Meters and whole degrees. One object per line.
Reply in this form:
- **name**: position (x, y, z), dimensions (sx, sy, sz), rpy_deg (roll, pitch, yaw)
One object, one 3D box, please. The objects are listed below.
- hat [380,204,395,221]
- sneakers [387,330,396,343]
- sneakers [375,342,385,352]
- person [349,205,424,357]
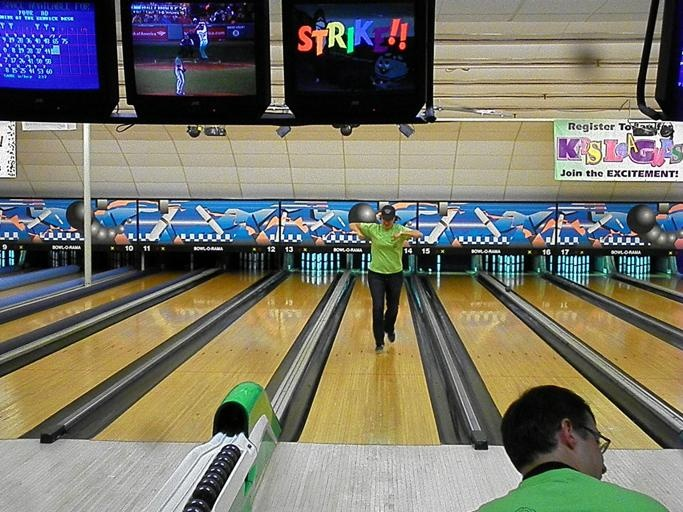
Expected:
- **hat**: position (0.432, -0.387, 4.369), dimensions (0.134, 0.160, 0.071), rpy_deg (5, 15, 19)
- **sneakers**: position (0.516, 0.825, 4.960), dimensions (0.089, 0.087, 0.140), rpy_deg (-4, -10, 3)
- **sneakers**: position (0.374, 0.866, 4.637), dimensions (0.104, 0.103, 0.269), rpy_deg (0, -8, 1)
- **person**: position (0.414, 0.225, 4.627), dimensions (0.615, 1.419, 0.567), rpy_deg (0, 9, 0)
